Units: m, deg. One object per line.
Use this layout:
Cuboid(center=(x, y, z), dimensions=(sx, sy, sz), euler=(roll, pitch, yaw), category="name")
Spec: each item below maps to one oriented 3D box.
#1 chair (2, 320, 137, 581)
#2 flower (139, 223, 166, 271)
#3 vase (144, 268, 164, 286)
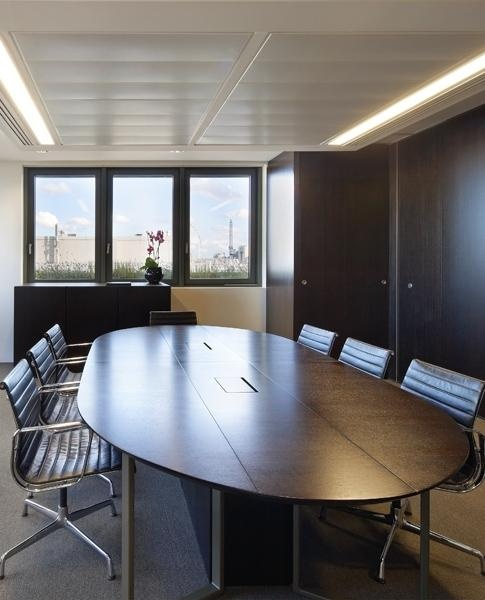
Cuboid(center=(-0.834, 0.753, 2.278), dimensions=(0.298, 0.534, 0.862), euler=(-1, 4, -13), category="chair")
Cuboid(center=(-1.163, -0.680, 6.432), dimensions=(0.293, 0.463, 0.316), euler=(-1, 6, -21), category="flower")
Cuboid(center=(-1.121, -0.289, 6.040), dimensions=(0.192, 0.204, 0.221), euler=(0, -3, -19), category="vase")
